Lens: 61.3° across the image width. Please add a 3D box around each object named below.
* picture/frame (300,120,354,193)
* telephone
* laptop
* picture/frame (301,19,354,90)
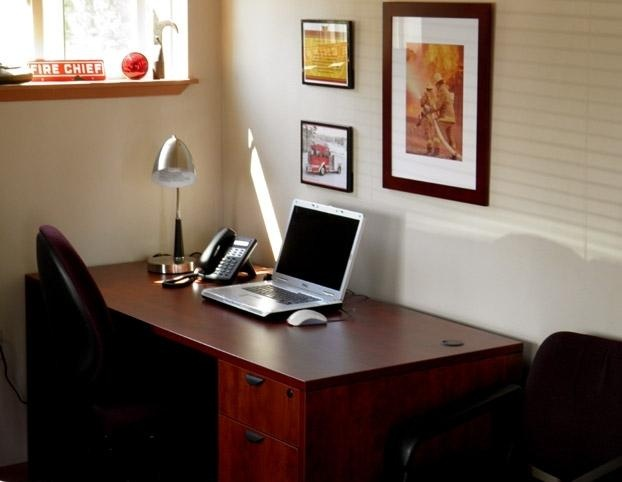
[{"bbox_3d":[0.080,-0.393,2.372,0.029,0.273,0.295,-6,11,-40],"label":"picture/frame"},{"bbox_3d":[-0.439,0.059,2.418,0.342,0.208,0.223,-6,9,-38],"label":"telephone"},{"bbox_3d":[-0.091,0.070,2.088,0.473,0.398,0.509,0,7,-35],"label":"laptop"},{"bbox_3d":[0.081,-0.826,2.302,0.031,0.303,0.298,-8,14,-42],"label":"picture/frame"}]
